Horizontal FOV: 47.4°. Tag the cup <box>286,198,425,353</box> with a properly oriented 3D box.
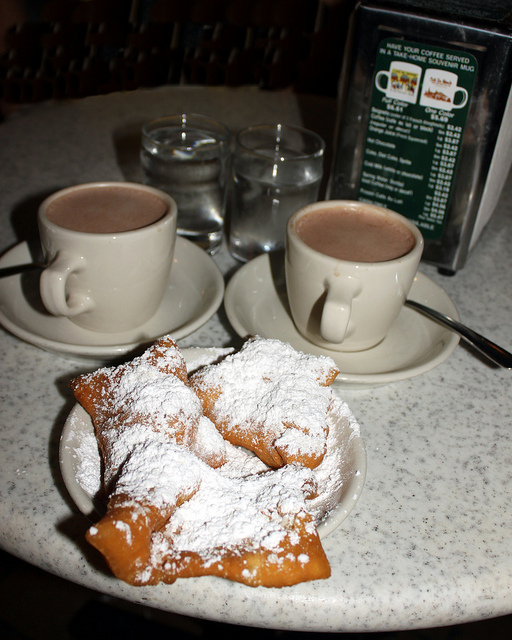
[{"bbox_3d":[0.094,-0.024,0.632,0.137,0.131,0.205,11,36,13],"label":"cup"}]

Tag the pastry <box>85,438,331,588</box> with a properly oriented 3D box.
[{"bbox_3d":[-0.030,0.124,0.397,0.150,0.061,0.094,1,38,-8],"label":"pastry"}]

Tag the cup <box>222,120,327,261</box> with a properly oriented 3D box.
[{"bbox_3d":[0.022,-0.188,0.896,0.134,0.175,0.203,2,16,-15],"label":"cup"}]

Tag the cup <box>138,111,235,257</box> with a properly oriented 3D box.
[{"bbox_3d":[-0.094,-0.215,0.883,0.112,0.156,0.179,4,32,2],"label":"cup"}]

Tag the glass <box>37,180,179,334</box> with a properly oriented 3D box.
[{"bbox_3d":[-0.166,-0.063,0.656,0.154,0.143,0.142,-11,41,-22],"label":"glass"}]

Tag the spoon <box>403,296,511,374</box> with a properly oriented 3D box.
[{"bbox_3d":[0.231,0.020,0.679,0.021,0.016,0.123,-33,53,-13],"label":"spoon"}]

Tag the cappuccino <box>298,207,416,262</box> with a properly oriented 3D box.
[{"bbox_3d":[0.106,-0.095,0.626,0.123,0.014,0.100,6,37,-1],"label":"cappuccino"}]
